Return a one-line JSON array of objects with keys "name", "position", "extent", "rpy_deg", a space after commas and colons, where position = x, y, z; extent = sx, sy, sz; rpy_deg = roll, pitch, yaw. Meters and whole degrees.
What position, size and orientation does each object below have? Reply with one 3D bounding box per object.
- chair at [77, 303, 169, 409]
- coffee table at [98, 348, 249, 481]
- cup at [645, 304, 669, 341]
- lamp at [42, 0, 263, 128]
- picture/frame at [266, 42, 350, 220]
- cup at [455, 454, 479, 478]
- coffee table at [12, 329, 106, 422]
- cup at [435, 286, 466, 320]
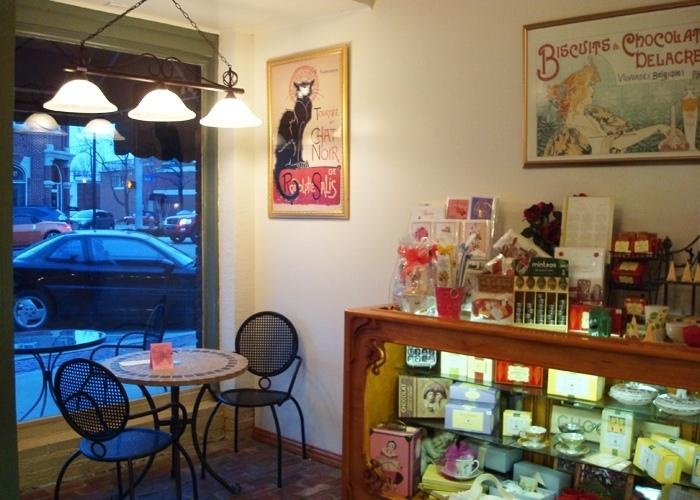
[{"name": "chair", "position": [-1.781, 0.737, 4.399], "extent": [0.525, 0.847, 0.455], "rpy_deg": [10, -18, -2]}, {"name": "coffee table", "position": [-1.207, 1.080, 3.776], "extent": [0.804, 0.734, 0.829], "rpy_deg": [16, -7, -21]}, {"name": "cup", "position": [1.503, 0.360, 2.728], "extent": [0.122, 0.163, 0.121], "rpy_deg": [0, -1, 0]}, {"name": "lamp", "position": [-1.464, -1.373, 4.022], "extent": [1.029, 0.740, 0.305], "rpy_deg": [1, -4, -37]}, {"name": "picture/frame", "position": [-0.333, -0.885, 4.304], "extent": [0.808, 1.279, 0.055], "rpy_deg": [4, 6, 35]}, {"name": "cup", "position": [0.651, 1.210, 3.139], "extent": [0.146, 0.103, 0.099], "rpy_deg": [-3, -7, -16]}, {"name": "coffee table", "position": [-2.203, 0.857, 4.360], "extent": [0.642, 0.695, 0.654], "rpy_deg": [-1, 5, -23]}, {"name": "cup", "position": [0.552, 0.280, 3.103], "extent": [0.167, 0.189, 0.177], "rpy_deg": [1, 12, 0]}]
